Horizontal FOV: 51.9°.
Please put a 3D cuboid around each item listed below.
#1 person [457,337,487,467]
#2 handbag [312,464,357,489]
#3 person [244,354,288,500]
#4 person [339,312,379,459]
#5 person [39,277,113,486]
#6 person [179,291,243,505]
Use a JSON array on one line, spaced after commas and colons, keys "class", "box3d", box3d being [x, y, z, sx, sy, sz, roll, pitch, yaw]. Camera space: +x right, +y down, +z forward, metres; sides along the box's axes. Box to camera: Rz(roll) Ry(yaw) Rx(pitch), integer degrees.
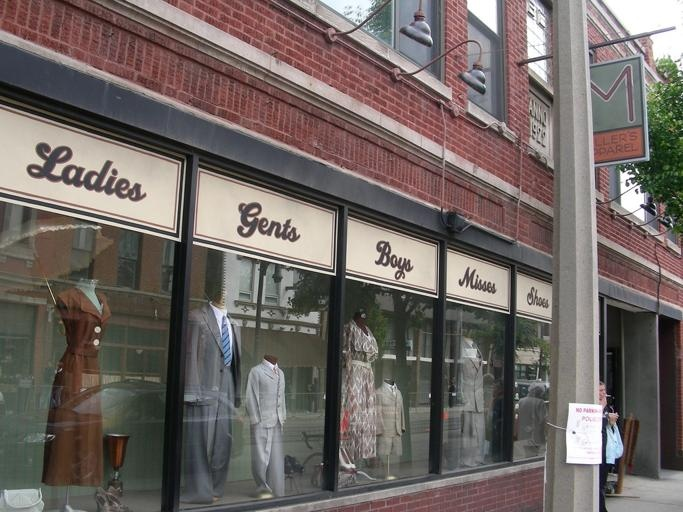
[{"class": "person", "box3d": [1.993, 2.196, 10.574, 0.222, 1.831, 0.856, -8, -16, 29]}, {"class": "handbag", "box3d": [-0.112, 2.589, 8.248, 0.395, 0.166, 0.312, 5, -2, -38]}, {"class": "person", "box3d": [-0.840, 1.870, 7.787, 0.178, 1.513, 0.589, -12, -18, 39]}, {"class": "person", "box3d": [0.251, 1.635, 8.797, 0.259, 1.844, 0.801, -7, -16, 26]}, {"class": "person", "box3d": [-2.458, 1.176, 6.558, 0.515, 1.838, 0.383, 6, -15, -22]}, {"class": "person", "box3d": [-1.373, 1.516, 7.339, 0.225, 2.027, 0.796, -10, -17, 34]}]
